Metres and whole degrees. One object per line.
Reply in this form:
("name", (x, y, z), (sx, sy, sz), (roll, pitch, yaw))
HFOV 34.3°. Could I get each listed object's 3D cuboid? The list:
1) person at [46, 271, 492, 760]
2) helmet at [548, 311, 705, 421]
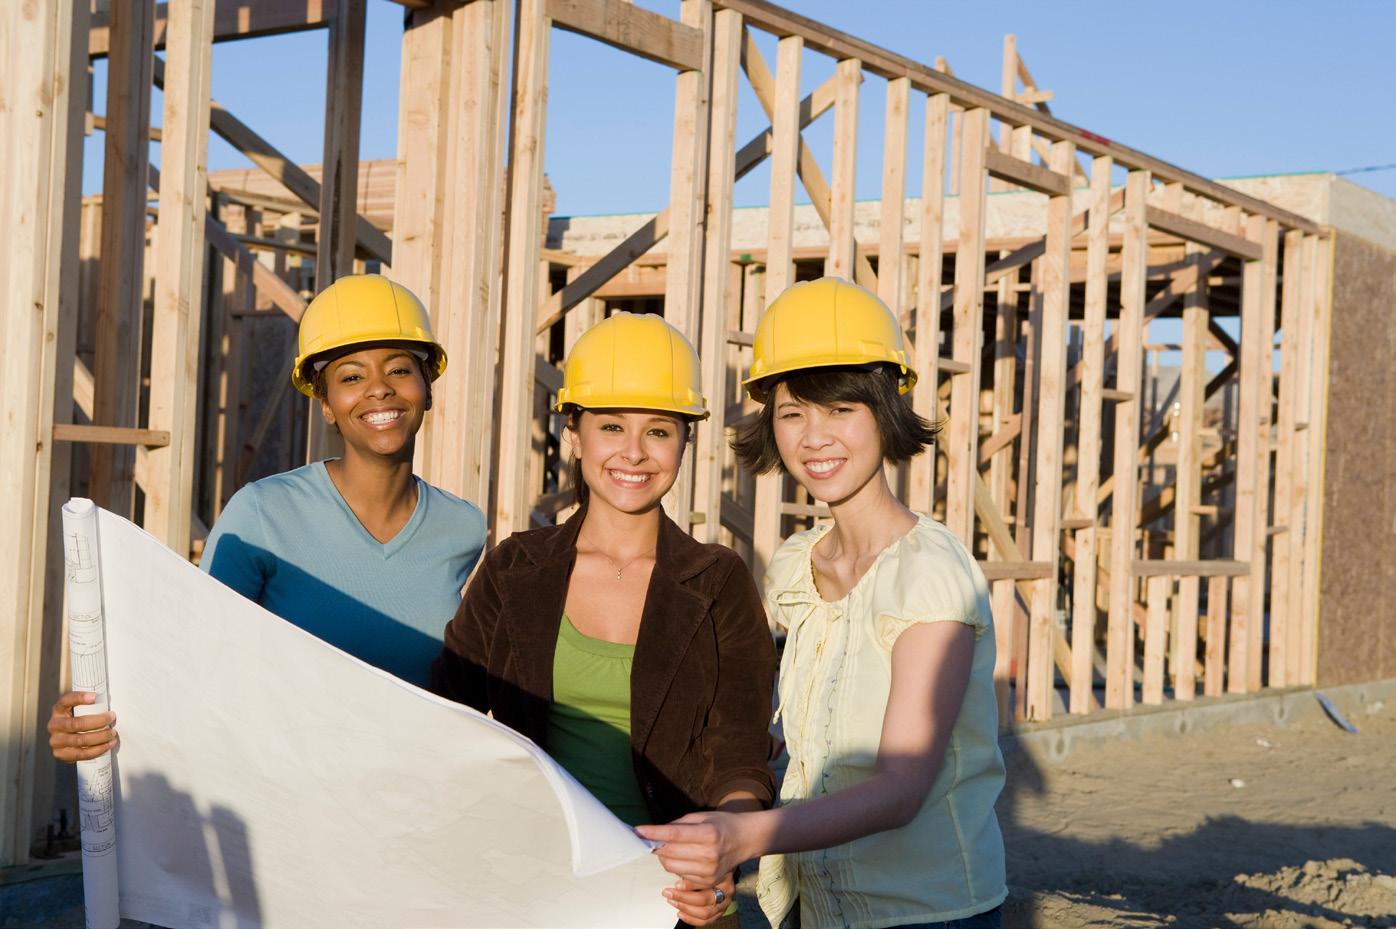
("person", (-1.634, 0.068, 10.891), (1.218, 2.013, 0.320), (-1, -4, -6))
("helmet", (-0.313, -0.449, 10.540), (0.480, 0.363, 0.509), (1, 0, 45))
